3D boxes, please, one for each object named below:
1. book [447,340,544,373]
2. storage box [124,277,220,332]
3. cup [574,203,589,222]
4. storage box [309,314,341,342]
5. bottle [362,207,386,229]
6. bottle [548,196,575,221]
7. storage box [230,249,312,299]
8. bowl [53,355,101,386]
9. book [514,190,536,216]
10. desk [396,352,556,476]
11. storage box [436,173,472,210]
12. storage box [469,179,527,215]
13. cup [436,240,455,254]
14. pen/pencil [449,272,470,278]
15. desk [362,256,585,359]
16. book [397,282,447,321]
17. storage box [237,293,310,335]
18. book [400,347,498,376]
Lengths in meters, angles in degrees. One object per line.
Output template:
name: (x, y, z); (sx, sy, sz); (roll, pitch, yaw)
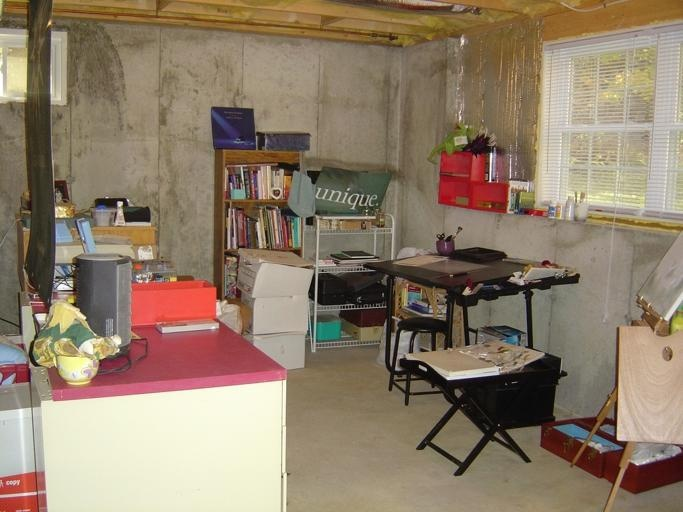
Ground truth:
book: (1.144, 0.743, 4.232); (0.564, 0.128, 0.546); (-15, 8, -41)
storage box: (-0.947, 0.261, 3.297); (0.456, 0.183, 0.238); (-2, 10, -21)
cup: (2.073, -0.374, 5.059); (0.089, 0.152, 0.065); (2, 13, 4)
storage box: (-0.177, 0.807, 6.500); (0.244, 0.163, 0.342); (-1, 6, -14)
bottle: (0.396, -0.434, 6.778); (0.300, 0.286, 0.166); (2, 3, -15)
bottle: (1.989, -0.409, 5.232); (0.254, 0.267, 0.178); (7, 9, 29)
storage box: (-0.644, 0.138, 5.772); (0.555, 0.323, 0.542); (-3, 10, -29)
bowl: (-1.062, 0.456, 2.357); (0.130, 0.094, 0.136); (1, 1, 0)
book: (1.749, -0.502, 5.596); (0.177, 0.207, 0.092); (5, 13, 15)
desk: (1.079, 1.162, 4.479); (1.106, 0.746, 0.551); (2, 0, -26)
storage box: (1.320, -0.743, 6.358); (0.268, 0.434, 0.485); (-2, 12, -36)
storage box: (1.534, -0.569, 5.785); (0.367, 0.226, 0.377); (-1, 2, -35)
cup: (1.032, -0.095, 5.800); (0.151, 0.106, 0.140); (-1, 5, 0)
pen/pencil: (0.999, 0.161, 4.949); (0.159, 0.020, 0.024); (-5, 10, -29)
desk: (1.068, 0.177, 5.164); (1.233, 0.855, 1.164); (-6, 13, -29)
book: (0.804, 0.359, 5.826); (0.369, 0.438, 0.473); (-4, 9, -26)
storage box: (-0.612, 0.578, 5.744); (0.465, 0.270, 0.443); (-1, 2, -18)
book: (0.766, 0.733, 4.055); (0.369, 0.071, 0.329); (-1, 5, -30)
